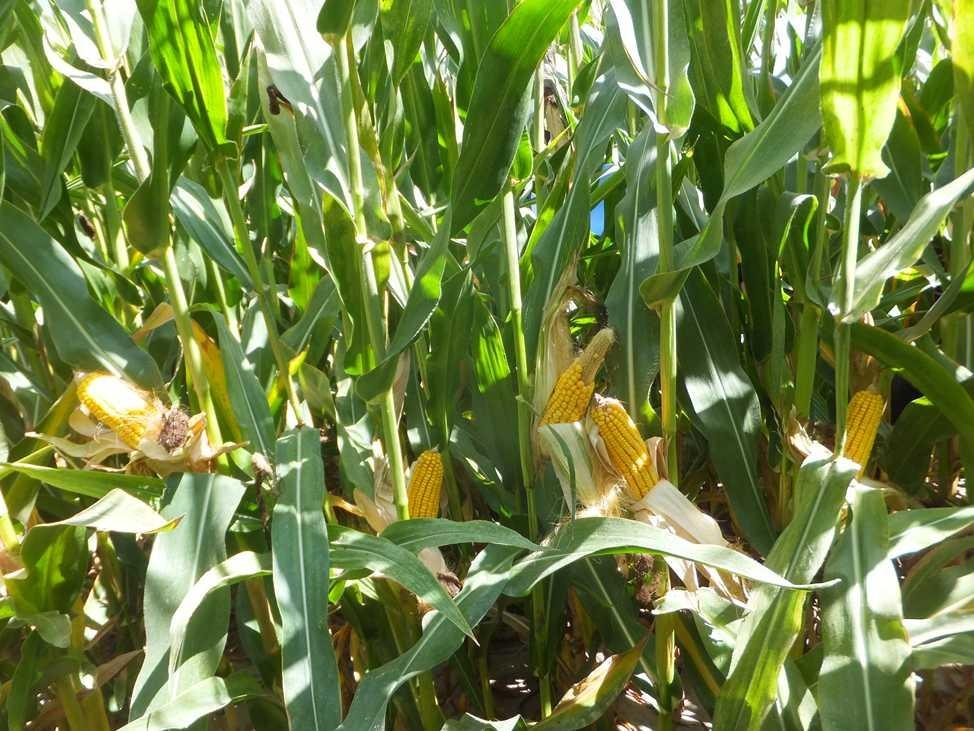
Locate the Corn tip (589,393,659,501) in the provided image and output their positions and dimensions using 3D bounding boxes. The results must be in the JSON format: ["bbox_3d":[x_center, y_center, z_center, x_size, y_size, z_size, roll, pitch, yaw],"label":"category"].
[{"bbox_3d":[0.357,0.217,2.460,0.095,0.407,0.106,-20,-5,1],"label":"Corn tip"}]

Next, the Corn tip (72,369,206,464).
[{"bbox_3d":[-0.896,0.177,2.408,0.359,0.142,0.189,32,37,8],"label":"Corn tip"}]

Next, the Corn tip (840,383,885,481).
[{"bbox_3d":[1.000,0.169,2.490,0.061,0.273,0.068,19,-3,-33],"label":"Corn tip"}]

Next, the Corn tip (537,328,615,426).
[{"bbox_3d":[0.244,0.048,2.471,0.089,0.346,0.108,1,46,-36],"label":"Corn tip"}]
